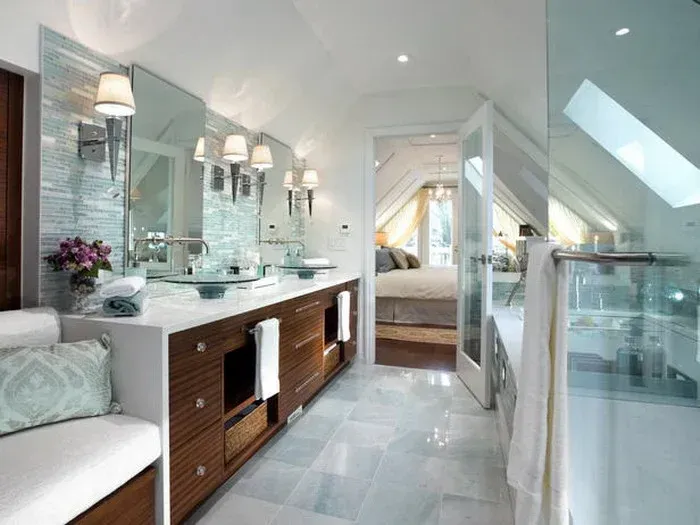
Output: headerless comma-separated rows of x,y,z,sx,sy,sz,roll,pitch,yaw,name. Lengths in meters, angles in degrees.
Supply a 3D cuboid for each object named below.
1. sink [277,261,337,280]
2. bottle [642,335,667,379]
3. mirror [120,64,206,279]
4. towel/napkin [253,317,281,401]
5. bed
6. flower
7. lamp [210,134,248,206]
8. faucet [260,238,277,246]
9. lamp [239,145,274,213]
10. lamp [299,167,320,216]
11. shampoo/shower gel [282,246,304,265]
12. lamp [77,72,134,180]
-0.376,0.056,3.920,0.383,0.119,0.487,1,2,-13,sink
0.825,0.254,1.271,0.021,0.118,0.055,-1,3,-35,bottle
-1.053,-0.495,2.720,0.043,1.120,0.561,2,2,23,mirror
-0.448,0.509,2.537,0.071,0.403,0.239,2,2,20,towel/napkin
0.760,0.392,5.514,0.955,0.666,1.017,-2,-1,11,bed
-1.260,0.011,2.166,0.222,0.265,0.177,1,2,7,flower
-0.803,-0.653,3.233,0.169,0.466,0.412,0,2,-14,lamp
-0.665,-0.176,3.863,0.029,0.064,0.255,2,2,17,faucet
-0.737,-0.719,3.767,0.287,0.778,0.296,-1,4,-13,lamp
-0.368,-0.669,4.348,0.163,0.465,0.365,1,2,-7,lamp
-0.482,-0.055,4.018,0.153,0.168,0.163,2,0,5,shampoo/shower gel
-1.147,-0.668,2.266,0.295,0.524,0.243,3,3,40,lamp
